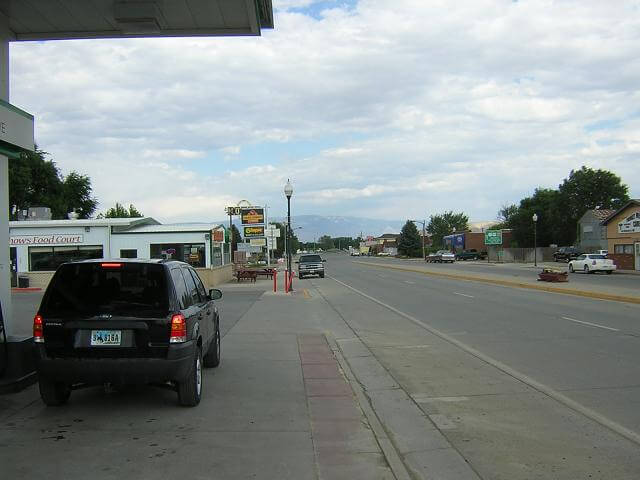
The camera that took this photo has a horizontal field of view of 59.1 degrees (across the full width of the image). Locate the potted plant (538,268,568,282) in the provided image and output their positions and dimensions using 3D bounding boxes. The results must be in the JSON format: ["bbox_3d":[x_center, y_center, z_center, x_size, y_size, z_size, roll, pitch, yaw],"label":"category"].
[{"bbox_3d":[12.442,1.887,29.946,0.903,0.366,1.190,-1,-2,-8],"label":"potted plant"}]

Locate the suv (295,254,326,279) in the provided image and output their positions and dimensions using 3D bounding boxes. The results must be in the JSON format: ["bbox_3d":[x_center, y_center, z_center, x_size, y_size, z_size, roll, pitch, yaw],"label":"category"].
[{"bbox_3d":[-0.596,2.026,42.160,1.782,1.742,2.189,0,2,3],"label":"suv"}]

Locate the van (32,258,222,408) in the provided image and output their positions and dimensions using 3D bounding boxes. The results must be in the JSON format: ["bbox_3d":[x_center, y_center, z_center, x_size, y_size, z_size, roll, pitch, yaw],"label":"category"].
[{"bbox_3d":[-2.654,1.123,8.375,1.724,1.196,2.909,0,0,4],"label":"van"}]

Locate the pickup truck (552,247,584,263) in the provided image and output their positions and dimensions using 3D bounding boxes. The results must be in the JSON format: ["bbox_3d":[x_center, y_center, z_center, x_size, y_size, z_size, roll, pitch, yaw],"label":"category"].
[{"bbox_3d":[26.077,1.551,59.021,2.134,1.254,3.473,0,4,-3],"label":"pickup truck"}]

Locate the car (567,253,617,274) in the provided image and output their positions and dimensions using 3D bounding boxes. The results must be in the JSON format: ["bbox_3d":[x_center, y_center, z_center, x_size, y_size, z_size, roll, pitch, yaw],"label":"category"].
[{"bbox_3d":[19.078,1.701,40.034,1.444,0.795,2.820,-1,3,-10],"label":"car"}]

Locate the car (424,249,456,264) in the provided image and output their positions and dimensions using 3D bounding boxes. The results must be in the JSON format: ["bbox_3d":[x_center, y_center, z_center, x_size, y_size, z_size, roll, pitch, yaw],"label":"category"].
[{"bbox_3d":[16.211,2.265,75.762,1.919,1.113,3.929,-1,3,-21],"label":"car"}]

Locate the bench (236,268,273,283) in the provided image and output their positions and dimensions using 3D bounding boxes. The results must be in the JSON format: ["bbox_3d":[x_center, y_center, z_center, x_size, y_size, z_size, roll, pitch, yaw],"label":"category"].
[{"bbox_3d":[-4.170,2.283,35.977,2.047,0.833,2.296,0,1,9],"label":"bench"}]

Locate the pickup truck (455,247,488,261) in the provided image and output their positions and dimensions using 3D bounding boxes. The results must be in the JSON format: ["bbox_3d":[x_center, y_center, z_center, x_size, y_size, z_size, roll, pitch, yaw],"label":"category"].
[{"bbox_3d":[21.442,2.148,79.703,3.615,1.164,1.787,1,0,14],"label":"pickup truck"}]
